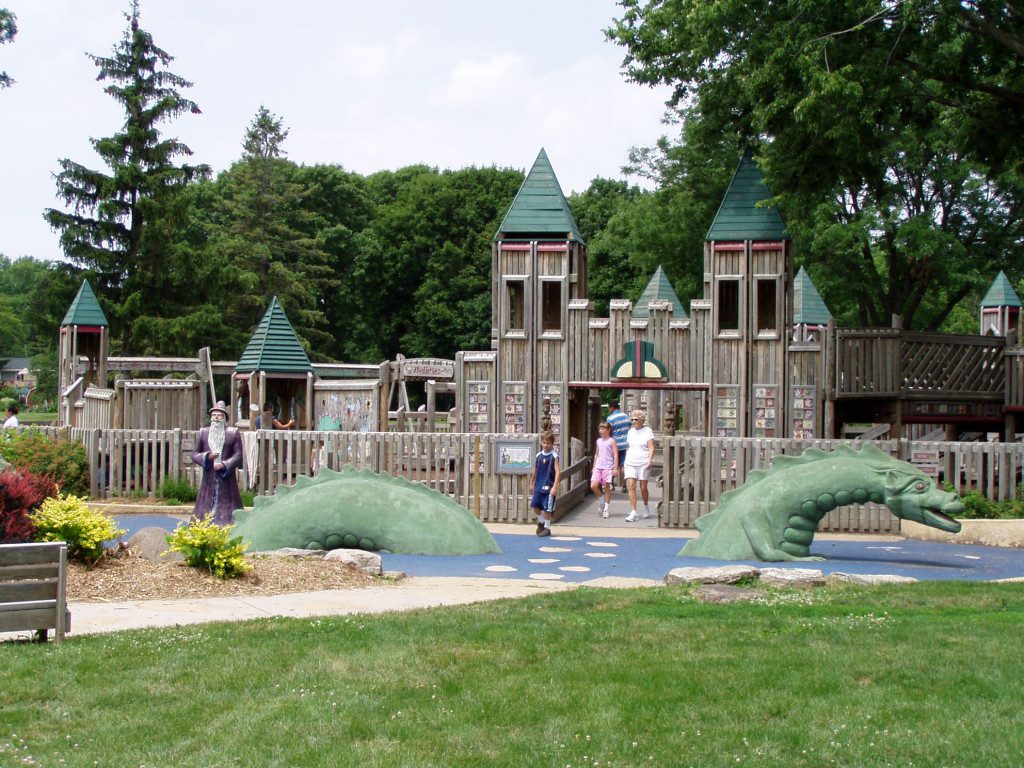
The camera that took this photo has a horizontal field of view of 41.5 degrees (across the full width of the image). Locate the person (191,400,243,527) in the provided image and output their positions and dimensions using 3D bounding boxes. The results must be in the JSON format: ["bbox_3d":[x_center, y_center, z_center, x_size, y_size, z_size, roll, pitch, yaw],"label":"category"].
[{"bbox_3d":[-4.857,1.359,22.177,0.767,1.907,0.930,-3,10,-15],"label":"person"}]

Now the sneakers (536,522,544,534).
[{"bbox_3d":[0.497,2.661,24.815,0.183,0.230,0.543,0,-7,8],"label":"sneakers"}]
